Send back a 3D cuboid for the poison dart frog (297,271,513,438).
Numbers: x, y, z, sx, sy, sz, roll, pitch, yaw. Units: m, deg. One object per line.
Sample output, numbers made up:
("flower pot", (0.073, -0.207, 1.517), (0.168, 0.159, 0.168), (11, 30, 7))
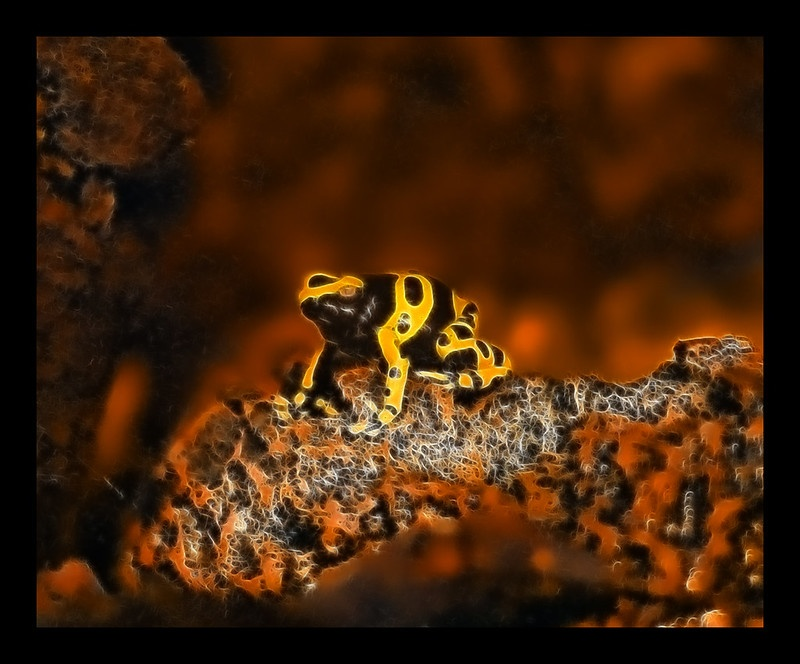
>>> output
("poison dart frog", (0.005, 0.002, 3.653), (0.419, 0.488, 0.305), (-9, 100, -21))
